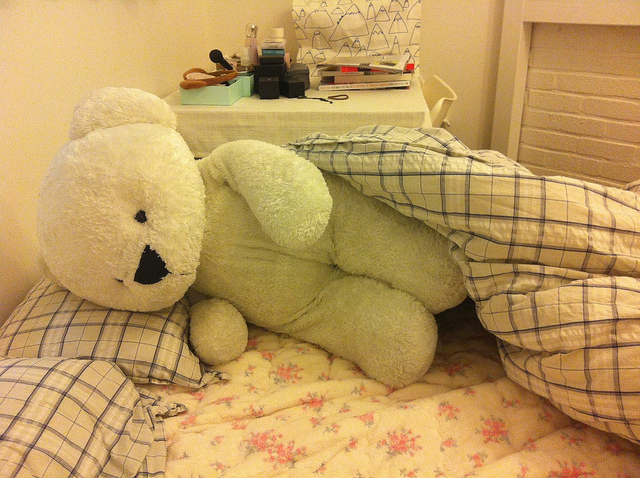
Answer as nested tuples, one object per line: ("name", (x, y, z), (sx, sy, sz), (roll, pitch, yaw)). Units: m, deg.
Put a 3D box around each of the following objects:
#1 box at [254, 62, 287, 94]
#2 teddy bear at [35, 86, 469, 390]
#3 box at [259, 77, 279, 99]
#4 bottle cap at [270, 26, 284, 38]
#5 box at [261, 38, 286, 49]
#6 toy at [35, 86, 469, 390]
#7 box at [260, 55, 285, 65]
("box", (-0.202, -0.654, 2.003), (0.126, 0.088, 0.124), (-2, 19, -6))
("teddy bear", (-0.093, -0.014, 1.464), (1.182, 0.504, 0.744), (11, -7, -6))
("box", (-0.200, -0.587, 1.926), (0.089, 0.074, 0.044), (-1, 14, -1))
("bottle cap", (-0.175, -0.821, 1.972), (0.048, 0.032, 0.033), (-6, 32, -9))
("box", (-0.188, -0.775, 1.964), (0.095, 0.039, 0.058), (-3, 31, -6))
("toy", (-0.136, -0.026, 1.409), (1.101, 0.414, 0.823), (9, -12, -5))
("box", (-0.191, -0.712, 1.959), (0.090, 0.032, 0.048), (3, 31, 4))
